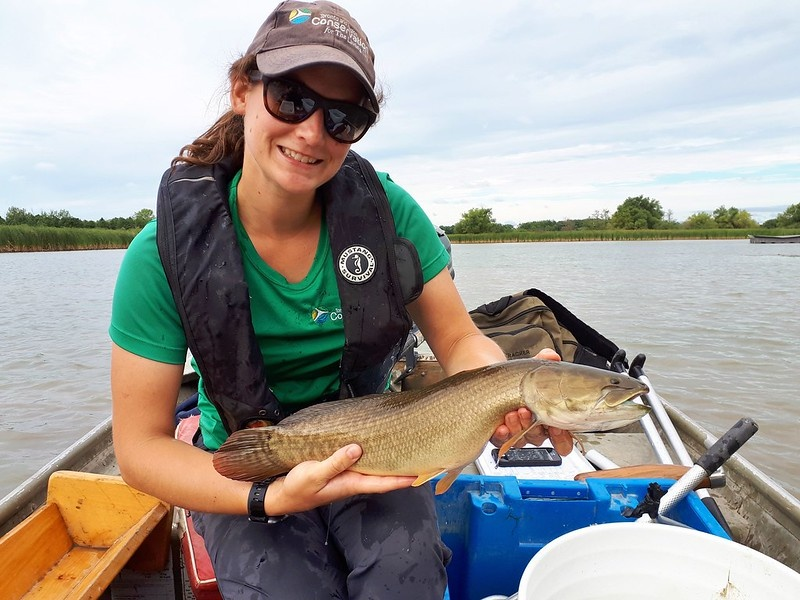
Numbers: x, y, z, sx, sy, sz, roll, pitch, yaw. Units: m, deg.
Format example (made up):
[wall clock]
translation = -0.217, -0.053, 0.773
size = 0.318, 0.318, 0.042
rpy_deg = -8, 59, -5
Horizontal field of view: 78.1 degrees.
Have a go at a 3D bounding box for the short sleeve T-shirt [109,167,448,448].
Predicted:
[short sleeve T-shirt]
translation = -0.655, 0.063, 2.649
size = 1.259, 1.297, 0.700
rpy_deg = -14, 12, -29
